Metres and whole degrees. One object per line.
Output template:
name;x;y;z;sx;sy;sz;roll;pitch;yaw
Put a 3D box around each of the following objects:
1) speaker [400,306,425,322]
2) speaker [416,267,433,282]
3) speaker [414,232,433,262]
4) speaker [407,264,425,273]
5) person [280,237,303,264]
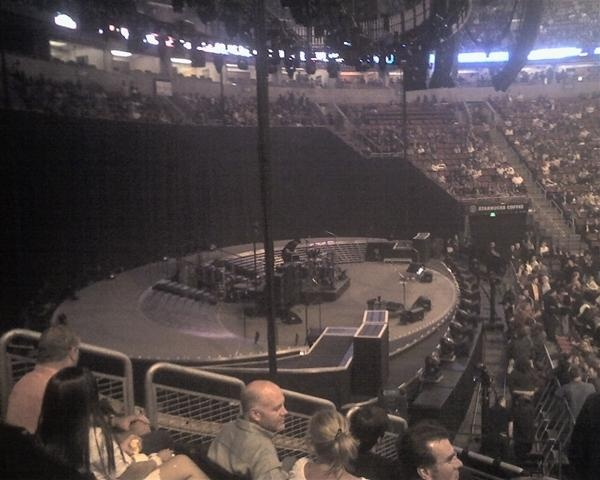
speaker;2.532;1.710;17.181;0.360;0.258;0.745;10;15;34
speaker;3.351;0.962;20.596;0.356;0.148;0.377;10;24;36
speaker;3.486;0.205;21.670;0.223;0.792;0.712;0;8;33
speaker;3.227;0.808;21.259;0.289;0.222;0.301;-3;3;-16
person;-0.269;0.245;18.660;0.394;0.599;0.900;1;12;-2
